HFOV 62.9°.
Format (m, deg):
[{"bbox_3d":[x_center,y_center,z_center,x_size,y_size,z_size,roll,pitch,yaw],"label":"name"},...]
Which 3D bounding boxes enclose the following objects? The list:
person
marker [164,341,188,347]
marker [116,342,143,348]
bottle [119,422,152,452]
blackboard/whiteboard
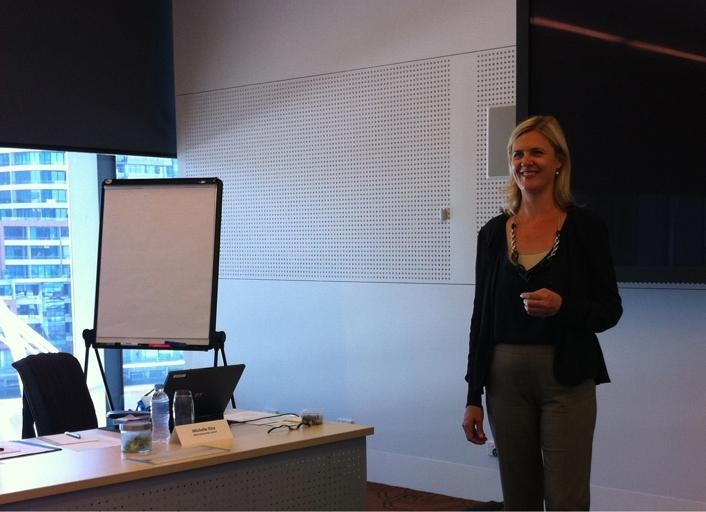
[{"bbox_3d":[0.704,0.214,2.242,0.605,1.249,0.308,-2,-1,27],"label":"person"},{"bbox_3d":[-1.127,0.563,3.658,0.165,0.045,0.022,-3,-1,21],"label":"marker"},{"bbox_3d":[-1.439,0.574,3.710,0.212,0.043,0.042,-3,-1,19],"label":"marker"},{"bbox_3d":[-0.939,0.771,2.506,0.118,0.108,0.121,-4,-6,35],"label":"bottle"},{"bbox_3d":[-1.263,0.067,3.751,1.005,1.349,0.096,-2,-8,12],"label":"blackboard/whiteboard"}]
